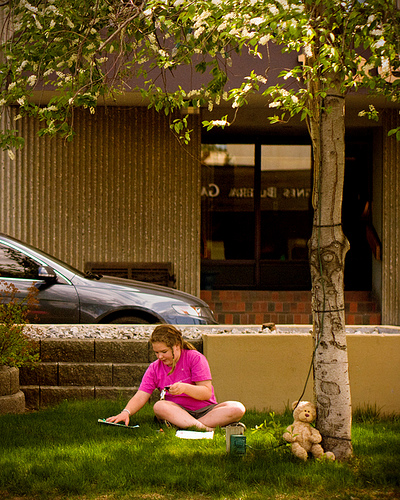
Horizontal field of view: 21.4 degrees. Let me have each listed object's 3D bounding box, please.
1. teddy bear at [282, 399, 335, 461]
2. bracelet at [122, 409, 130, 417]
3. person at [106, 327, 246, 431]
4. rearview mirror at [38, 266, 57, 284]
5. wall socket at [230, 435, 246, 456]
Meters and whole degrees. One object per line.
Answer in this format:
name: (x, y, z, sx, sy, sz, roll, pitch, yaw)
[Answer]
teddy bear: (0.705, 1.192, 6.870, 0.215, 0.364, 0.323, 3, -3, -42)
bracelet: (-0.514, 1.151, 7.357, 0.059, 0.044, 0.057, 0, -3, 22)
person: (-0.088, 0.913, 7.381, 0.820, 0.730, 0.639, -4, -3, 19)
rearview mirror: (-1.362, 0.241, 9.417, 0.153, 0.161, 0.201, 1, -3, 3)
wall socket: (0.248, 1.290, 6.877, 0.103, 0.126, 0.148, 1, -3, 2)
